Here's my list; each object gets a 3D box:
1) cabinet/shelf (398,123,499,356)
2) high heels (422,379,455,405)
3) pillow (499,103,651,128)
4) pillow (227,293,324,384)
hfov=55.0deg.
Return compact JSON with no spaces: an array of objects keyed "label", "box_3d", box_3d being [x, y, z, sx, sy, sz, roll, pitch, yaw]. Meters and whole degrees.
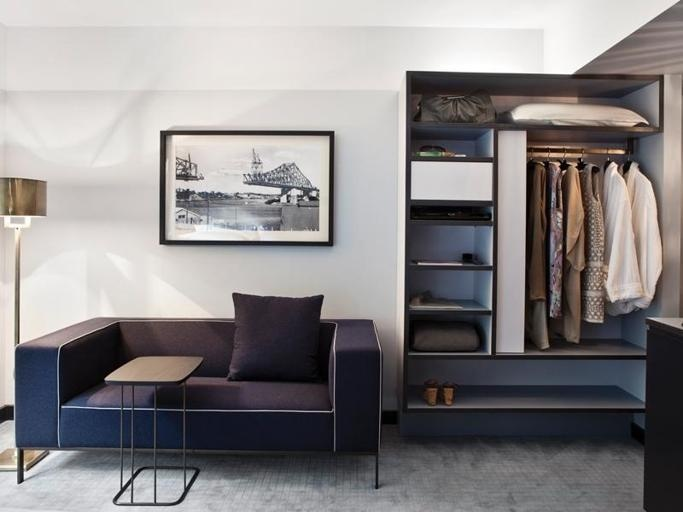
[{"label":"cabinet/shelf","box_3d":[0.788,-0.132,4.860,0.665,1.652,0.448,-1,2,4]},{"label":"high heels","box_3d":[0.734,0.982,4.849,0.225,0.170,0.337,-1,2,21]},{"label":"pillow","box_3d":[1.686,-0.999,4.670,0.602,0.104,0.372,1,7,1]},{"label":"pillow","box_3d":[-0.465,0.586,4.659,0.651,0.624,0.229,3,-8,-9]}]
